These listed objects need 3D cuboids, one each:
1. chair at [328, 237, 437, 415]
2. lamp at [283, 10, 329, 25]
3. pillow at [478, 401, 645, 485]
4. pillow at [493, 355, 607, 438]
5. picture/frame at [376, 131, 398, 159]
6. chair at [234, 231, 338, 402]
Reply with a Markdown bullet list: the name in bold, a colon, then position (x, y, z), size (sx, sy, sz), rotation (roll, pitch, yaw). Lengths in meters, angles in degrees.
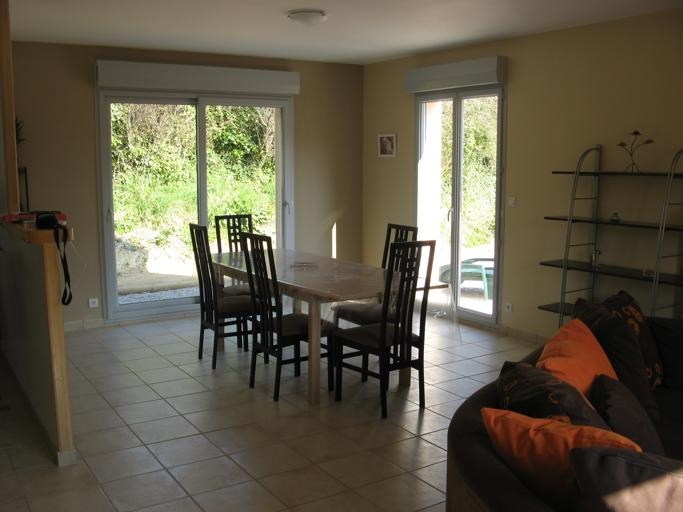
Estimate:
- **chair**: position (0.326, 0.497, 4.167), size (0.834, 1.336, 0.898), rotation (1, 10, 3)
- **lamp**: position (-0.312, -2.080, 4.448), size (0.367, 0.102, 0.258), rotation (0, 10, 0)
- **pillow**: position (0.670, 0.627, 1.731), size (0.279, 0.093, 0.292), rotation (4, 4, 29)
- **pillow**: position (0.805, 0.539, 2.005), size (0.260, 0.088, 0.275), rotation (14, 9, 40)
- **picture/frame**: position (0.632, -1.514, 6.945), size (0.038, 0.379, 0.383), rotation (-6, 7, -40)
- **chair**: position (-0.456, 0.487, 4.367), size (0.652, 1.338, 0.687), rotation (4, 8, 38)
